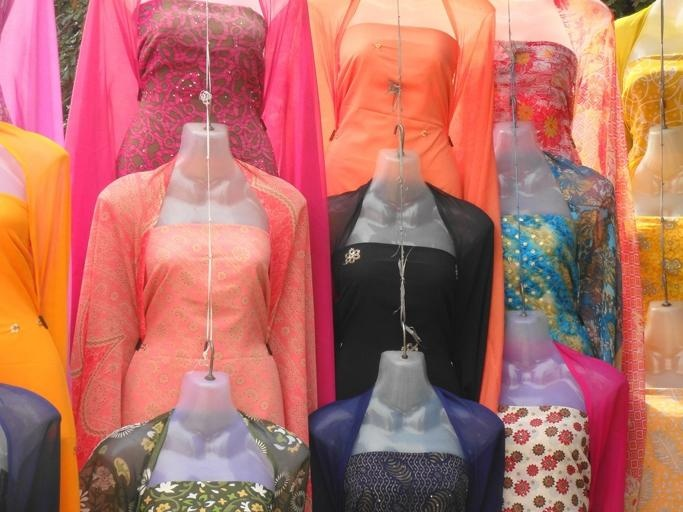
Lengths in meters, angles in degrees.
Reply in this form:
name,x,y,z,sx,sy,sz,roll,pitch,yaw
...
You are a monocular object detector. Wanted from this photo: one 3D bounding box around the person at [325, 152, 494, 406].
name,x,y,z,sx,sy,sz,roll,pitch,yaw
person,0.217,0.045,2.705,0.606,0.902,0.285,6,32,13
